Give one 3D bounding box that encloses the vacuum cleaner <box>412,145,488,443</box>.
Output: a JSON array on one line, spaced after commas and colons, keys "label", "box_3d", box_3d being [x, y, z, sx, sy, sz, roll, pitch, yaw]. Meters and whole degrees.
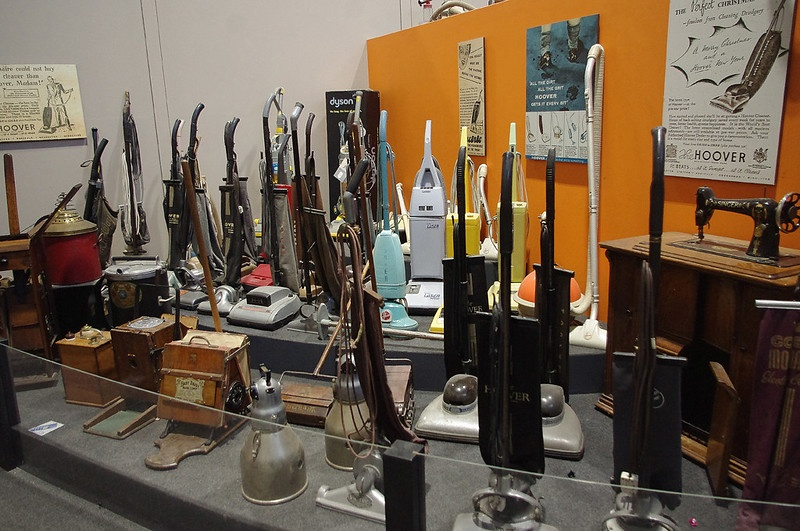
[{"label": "vacuum cleaner", "box_3d": [0.432, 0.119, 3.869, 0.648, 1.999, 0.742, -1, 6, 6]}]
